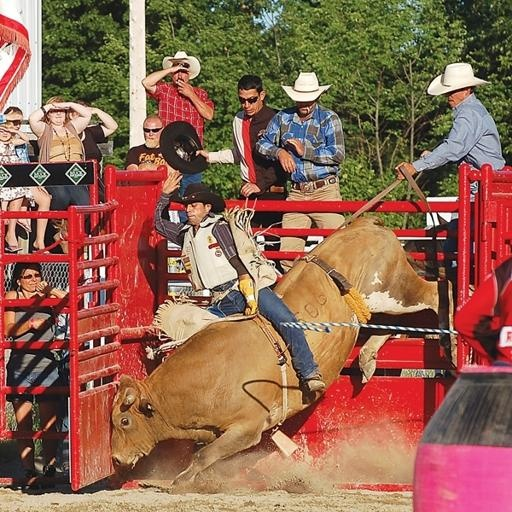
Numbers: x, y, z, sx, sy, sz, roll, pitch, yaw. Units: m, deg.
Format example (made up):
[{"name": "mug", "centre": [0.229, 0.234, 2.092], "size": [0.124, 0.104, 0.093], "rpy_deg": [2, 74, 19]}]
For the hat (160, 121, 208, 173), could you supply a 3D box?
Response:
[{"name": "hat", "centre": [-0.529, -0.879, 9.095], "size": [0.243, 0.413, 0.460], "rpy_deg": [12, 14, 39]}]

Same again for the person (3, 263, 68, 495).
[{"name": "person", "centre": [-1.754, 0.938, 9.035], "size": [0.464, 1.827, 0.738], "rpy_deg": [1, 11, -10]}]

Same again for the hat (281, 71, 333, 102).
[{"name": "hat", "centre": [0.434, -1.438, 9.728], "size": [0.304, 0.134, 0.334], "rpy_deg": [0, 19, 8]}]

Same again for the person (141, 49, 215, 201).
[{"name": "person", "centre": [-0.785, -1.198, 11.651], "size": [0.721, 1.765, 0.553], "rpy_deg": [-1, 2, -13]}]

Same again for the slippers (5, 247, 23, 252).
[{"name": "slippers", "centre": [-2.352, -0.071, 10.914], "size": [0.052, 0.036, 0.130], "rpy_deg": [-6, 1, -37]}]

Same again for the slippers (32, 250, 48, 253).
[{"name": "slippers", "centre": [-1.828, -0.046, 9.667], "size": [0.086, 0.029, 0.028], "rpy_deg": [0, -3, 6]}]

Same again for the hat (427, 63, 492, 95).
[{"name": "hat", "centre": [1.661, -1.428, 9.387], "size": [0.385, 0.305, 0.157], "rpy_deg": [-5, -8, 11]}]

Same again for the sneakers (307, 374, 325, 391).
[{"name": "sneakers", "centre": [0.440, 0.908, 8.150], "size": [0.071, 0.085, 0.189], "rpy_deg": [-8, -11, -14]}]

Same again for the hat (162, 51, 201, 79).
[{"name": "hat", "centre": [-0.800, -2.062, 12.287], "size": [0.385, 0.165, 0.431], "rpy_deg": [-1, -14, 4]}]

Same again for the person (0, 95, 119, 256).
[{"name": "person", "centre": [-1.892, -0.871, 11.394], "size": [0.790, 1.443, 1.983], "rpy_deg": [1, 11, -9]}]

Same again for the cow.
[{"name": "cow", "centre": [0.131, 0.696, 8.481], "size": [2.350, 1.901, 0.899], "rpy_deg": [-6, 14, -37]}]

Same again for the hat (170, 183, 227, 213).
[{"name": "hat", "centre": [-0.375, -0.469, 8.320], "size": [0.221, 0.104, 0.272], "rpy_deg": [-31, -30, 32]}]
